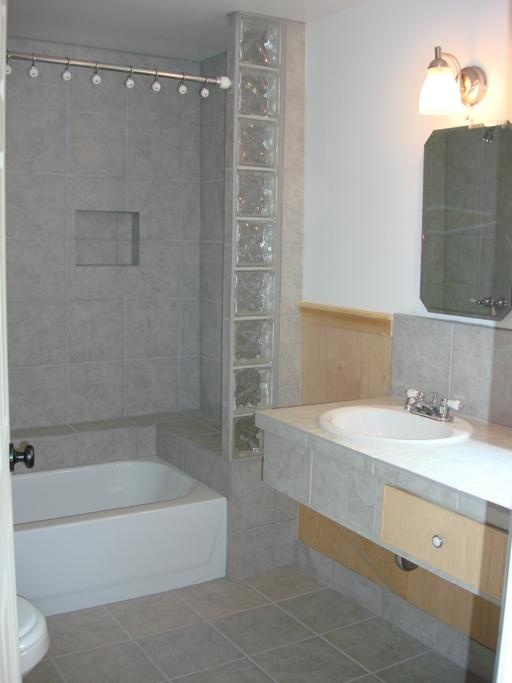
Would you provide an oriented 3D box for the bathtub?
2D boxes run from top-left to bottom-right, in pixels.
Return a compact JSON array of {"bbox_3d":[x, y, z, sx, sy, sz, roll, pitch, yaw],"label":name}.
[{"bbox_3d":[-0.684,0.900,2.763,0.925,0.449,0.716,-1,2,-29],"label":"bathtub"}]

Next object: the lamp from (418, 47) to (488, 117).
[{"bbox_3d":[0.628,-0.847,1.872,0.196,0.193,0.131,-14,17,-25],"label":"lamp"}]
